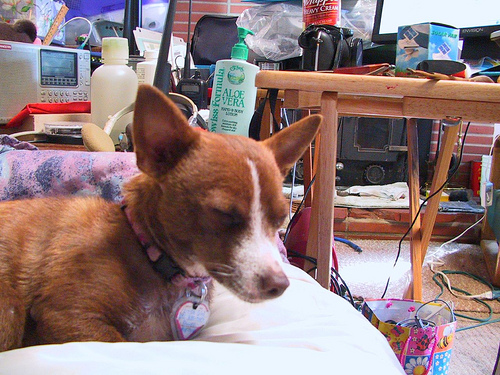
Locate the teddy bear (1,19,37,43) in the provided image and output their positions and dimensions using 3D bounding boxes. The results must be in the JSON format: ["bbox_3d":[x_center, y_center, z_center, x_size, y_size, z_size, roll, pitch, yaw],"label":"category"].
[{"bbox_3d":[-0.958,-0.654,1.650,0.068,0.099,0.211,4,13,-2],"label":"teddy bear"}]

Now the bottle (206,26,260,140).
[{"bbox_3d":[-0.056,-0.304,1.172,0.157,0.321,0.159,10,23,-4],"label":"bottle"}]

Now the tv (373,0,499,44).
[{"bbox_3d":[0.698,-0.606,1.438,0.354,0.040,0.250,10,55,29],"label":"tv"}]
